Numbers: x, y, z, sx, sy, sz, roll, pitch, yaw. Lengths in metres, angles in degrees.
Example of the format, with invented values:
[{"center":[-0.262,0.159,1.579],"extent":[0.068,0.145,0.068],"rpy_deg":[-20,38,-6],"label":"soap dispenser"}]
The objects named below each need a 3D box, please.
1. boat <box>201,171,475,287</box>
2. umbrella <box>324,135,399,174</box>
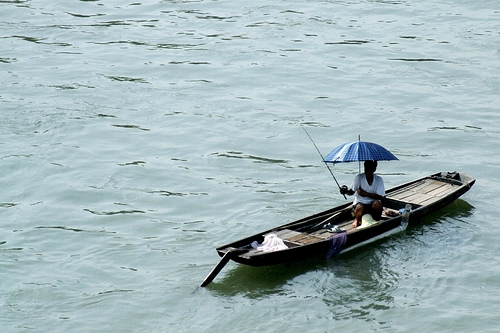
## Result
[{"center":[3.620,2.025,30.730],"extent":[11.171,1.132,1.916],"rpy_deg":[-16,27,-25],"label":"boat"},{"center":[3.713,-0.458,29.993],"extent":[2.300,0.687,0.891],"rpy_deg":[3,30,2],"label":"umbrella"}]
